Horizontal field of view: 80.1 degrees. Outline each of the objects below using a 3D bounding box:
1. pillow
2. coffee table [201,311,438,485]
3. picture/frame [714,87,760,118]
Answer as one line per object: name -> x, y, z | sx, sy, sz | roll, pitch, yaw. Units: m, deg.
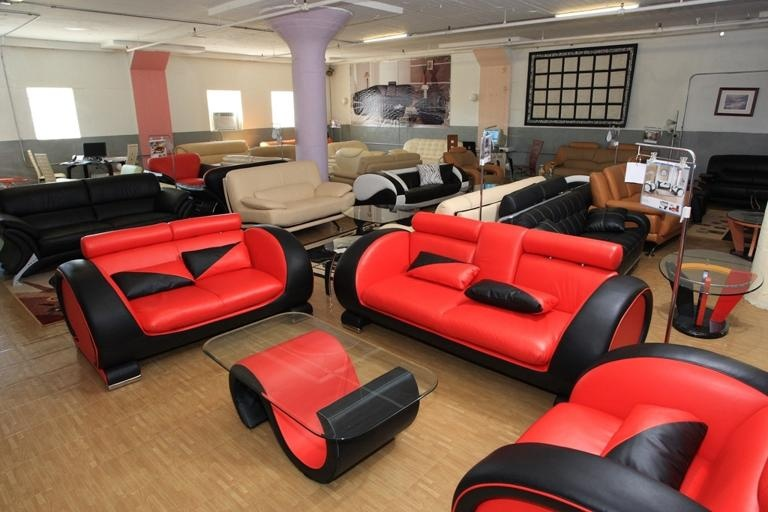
pillow -> 1.637, 1.008, 2.650 | 0.459, 0.153, 0.555 | 15, 29, 31
coffee table -> -0.511, 1.046, 3.521 | 1.561, 0.497, 0.976 | 19, 26, 38
picture/frame -> 7.121, -3.098, 9.187 | 0.691, 0.596, 0.056 | 15, 22, 32
